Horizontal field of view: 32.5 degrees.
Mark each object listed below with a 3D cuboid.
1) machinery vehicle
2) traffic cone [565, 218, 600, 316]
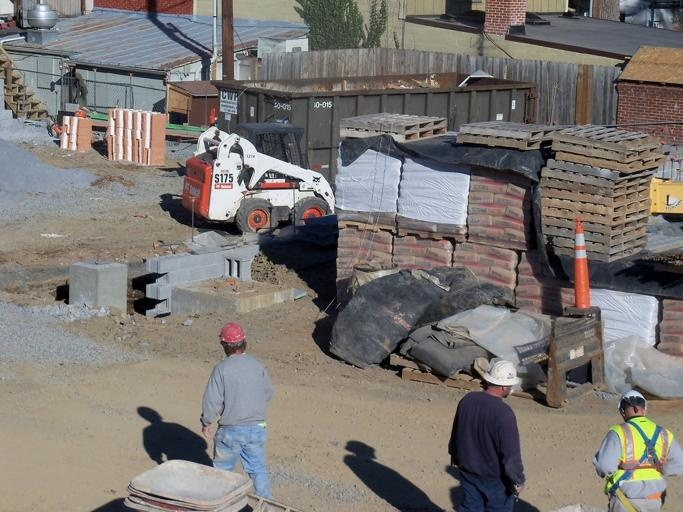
[{"bbox_3d":[-1.746,-1.683,25.158,3.312,2.132,1.657,-5,16,-38],"label":"machinery vehicle"},{"bbox_3d":[3.765,0.100,18.197,0.331,1.339,0.720,5,12,11],"label":"traffic cone"}]
